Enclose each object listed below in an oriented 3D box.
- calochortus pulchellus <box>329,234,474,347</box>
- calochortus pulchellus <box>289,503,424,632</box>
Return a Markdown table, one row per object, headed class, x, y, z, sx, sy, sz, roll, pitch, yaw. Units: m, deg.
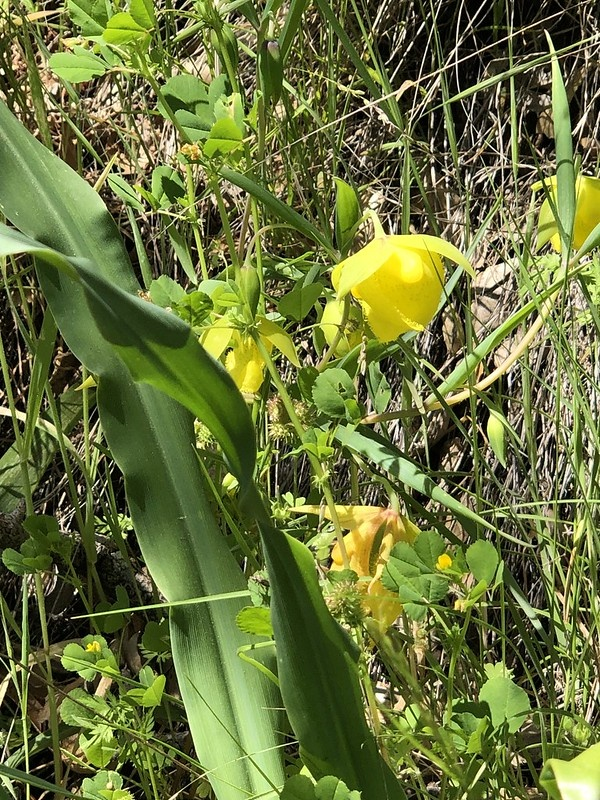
| class | x | y | z | sx | sy | sz | roll | pitch | yaw |
| --- | --- | --- | --- | --- | --- | --- | --- | --- | --- |
| calochortus pulchellus | 0.085 | -0.099 | 0.602 | 0.125 | 0.142 | 0.064 | 4 | 82 | -14 |
| calochortus pulchellus | 0.056 | 0.124 | 0.585 | 0.064 | 0.049 | 0.113 | 14 | 40 | -3 |
